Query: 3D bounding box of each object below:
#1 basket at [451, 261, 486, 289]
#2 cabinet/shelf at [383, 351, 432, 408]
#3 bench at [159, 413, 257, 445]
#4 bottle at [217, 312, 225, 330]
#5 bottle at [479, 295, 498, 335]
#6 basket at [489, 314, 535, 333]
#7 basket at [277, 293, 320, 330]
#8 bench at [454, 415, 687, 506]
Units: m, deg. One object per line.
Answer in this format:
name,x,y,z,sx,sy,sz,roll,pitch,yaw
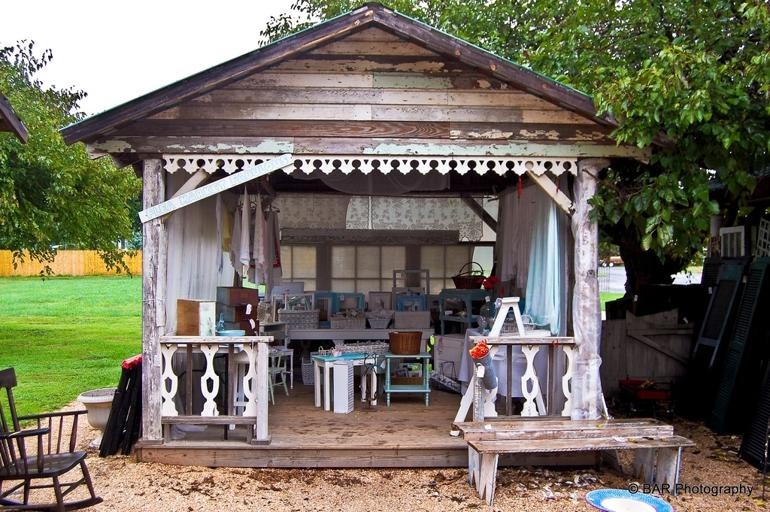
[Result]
basket,1.450,0.265,12.752,0.576,0.483,0.546,0,-5,8
cabinet/shelf,0.359,1.904,11.572,0.754,0.764,0.792,1,-5,1
bench,-2.324,2.249,9.954,1.263,0.355,0.742,0,-2,-3
bottle,-2.326,0.913,10.454,0.115,0.233,0.603,0,-2,-13
bottle,1.506,0.863,11.266,0.353,0.464,0.485,4,9,-5
basket,1.925,0.980,10.754,0.451,0.253,0.854,0,-2,-16
basket,-1.540,0.978,13.145,0.625,0.616,0.598,2,-5,-29
bench,2.343,2.542,9.317,2.712,0.948,0.930,0,-1,-5
